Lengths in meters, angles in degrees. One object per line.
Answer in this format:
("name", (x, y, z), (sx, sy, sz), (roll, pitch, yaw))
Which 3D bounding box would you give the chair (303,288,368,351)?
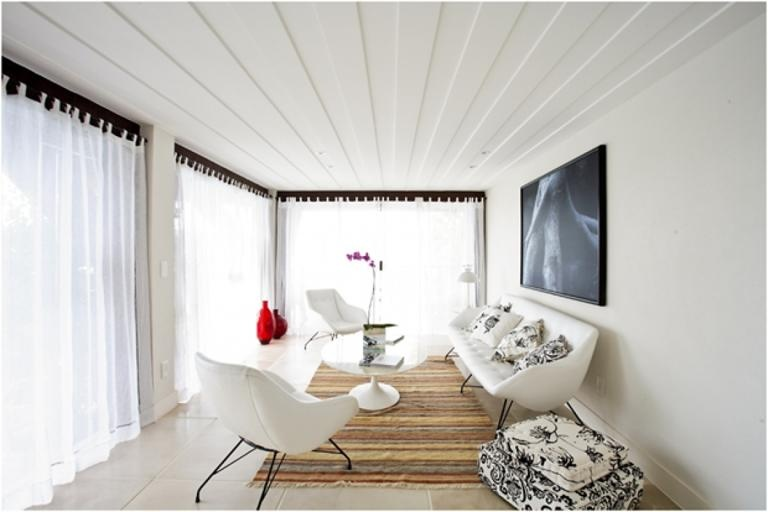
("chair", (-0.673, 0.925, 6.637), (0.827, 0.823, 0.807), (1, 8, -22))

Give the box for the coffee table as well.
("coffee table", (-0.121, 1.103, 4.883), (0.810, 0.380, 0.796), (0, 7, 5))

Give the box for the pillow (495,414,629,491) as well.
("pillow", (1.392, 1.536, 3.845), (0.831, 0.162, 0.786), (2, 8, -29))

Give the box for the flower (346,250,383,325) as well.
("flower", (-0.274, 0.551, 7.425), (0.611, 1.390, 0.415), (-2, 20, -4))

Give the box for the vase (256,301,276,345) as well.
("vase", (-1.698, 0.933, 6.927), (0.235, 0.599, 0.331), (0, 4, -1))

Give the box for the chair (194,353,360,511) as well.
("chair", (-0.909, 1.174, 4.193), (1.127, 1.314, 1.306), (2, 6, 35))

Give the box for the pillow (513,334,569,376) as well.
("pillow", (1.422, 0.895, 4.278), (0.498, 0.324, 0.434), (0, 4, 10))
